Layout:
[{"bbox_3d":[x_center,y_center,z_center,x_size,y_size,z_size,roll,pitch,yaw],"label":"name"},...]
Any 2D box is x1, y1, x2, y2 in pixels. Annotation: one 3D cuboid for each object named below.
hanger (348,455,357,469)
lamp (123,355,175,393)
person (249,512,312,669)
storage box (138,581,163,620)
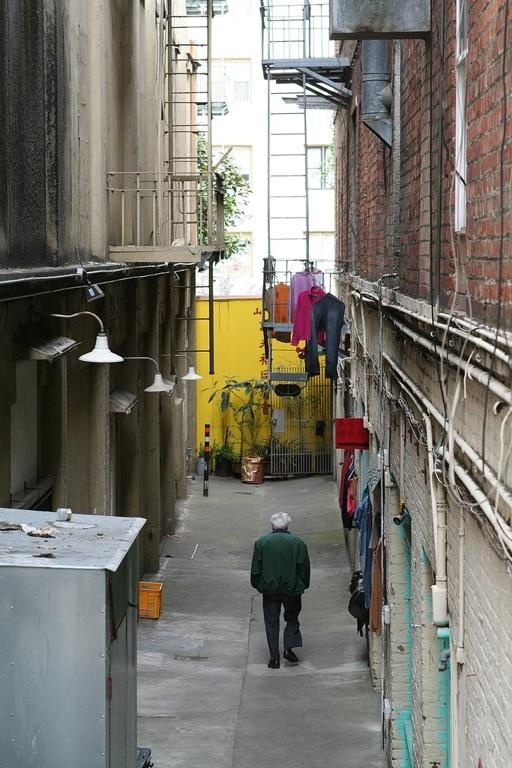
[{"bbox_3d":[1.415,1.141,13.618,0.057,0.073,0.154,13,44,-10],"label":"hanger"},{"bbox_3d":[-1.408,-0.029,12.511,0.587,0.785,0.474,-1,-2,20],"label":"lamp"},{"bbox_3d":[0.290,2.379,10.735,0.739,1.724,0.623,-2,2,-38],"label":"person"},{"bbox_3d":[-1.392,2.865,12.339,0.301,0.501,0.452,-1,2,-14],"label":"storage box"}]
